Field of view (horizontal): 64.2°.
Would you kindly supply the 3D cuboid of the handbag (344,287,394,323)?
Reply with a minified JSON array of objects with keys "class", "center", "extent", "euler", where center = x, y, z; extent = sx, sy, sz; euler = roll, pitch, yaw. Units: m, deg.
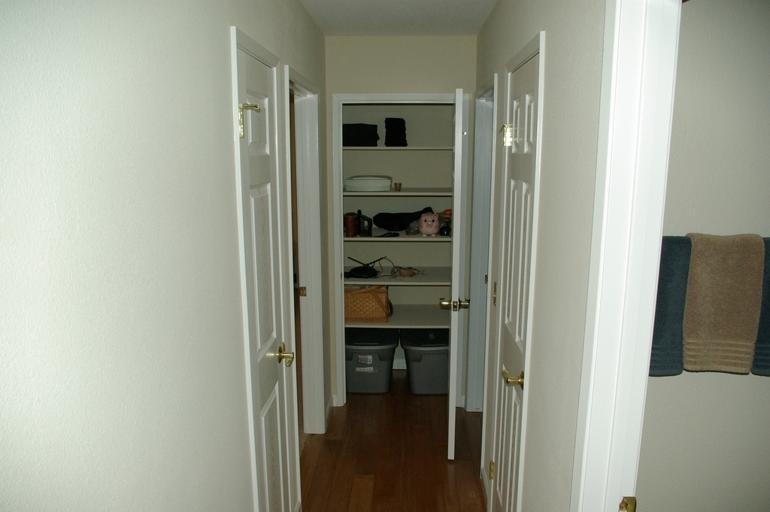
[{"class":"handbag","center":[-0.141,0.364,4.525],"extent":[0.319,0.242,0.243],"euler":[-1,3,-1]}]

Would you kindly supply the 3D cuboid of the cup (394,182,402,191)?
[{"class":"cup","center":[0.087,-0.493,4.429],"extent":[0.064,0.066,0.061],"euler":[2,5,0]}]

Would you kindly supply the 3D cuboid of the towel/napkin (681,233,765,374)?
[{"class":"towel/napkin","center":[0.979,0.133,1.783],"extent":[0.198,0.378,0.095],"euler":[5,14,28]}]

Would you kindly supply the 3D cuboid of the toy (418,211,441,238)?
[{"class":"toy","center":[0.322,-0.230,4.476],"extent":[0.127,0.162,0.177],"euler":[1,19,2]}]

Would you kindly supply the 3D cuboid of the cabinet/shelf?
[{"class":"cabinet/shelf","center":[0.100,-0.145,4.668],"extent":[0.843,1.360,0.652],"euler":[-1,1,-3]}]

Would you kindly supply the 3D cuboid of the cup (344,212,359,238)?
[{"class":"cup","center":[-0.273,-0.222,4.494],"extent":[0.103,0.164,0.166],"euler":[-1,0,-44]}]

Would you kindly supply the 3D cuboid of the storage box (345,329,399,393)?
[{"class":"storage box","center":[-0.114,0.804,4.686],"extent":[0.356,0.329,0.431],"euler":[0,0,2]}]

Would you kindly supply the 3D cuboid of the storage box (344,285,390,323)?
[{"class":"storage box","center":[-0.140,0.361,4.524],"extent":[0.321,0.237,0.237],"euler":[-1,3,-1]}]

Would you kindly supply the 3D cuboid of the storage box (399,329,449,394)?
[{"class":"storage box","center":[0.284,0.793,4.659],"extent":[0.381,0.459,0.411],"euler":[0,2,0]}]
